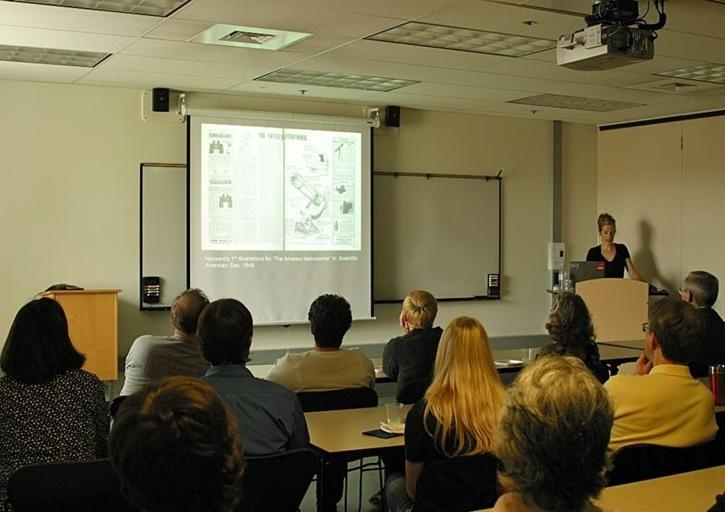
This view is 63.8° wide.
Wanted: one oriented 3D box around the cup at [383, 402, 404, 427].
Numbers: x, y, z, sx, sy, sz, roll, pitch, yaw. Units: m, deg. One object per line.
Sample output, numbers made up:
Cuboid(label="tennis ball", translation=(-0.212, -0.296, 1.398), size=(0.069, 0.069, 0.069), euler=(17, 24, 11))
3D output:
Cuboid(label="cup", translation=(0.178, 0.871, 3.196), size=(0.110, 0.086, 0.112), euler=(0, -3, 0))

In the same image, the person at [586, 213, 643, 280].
Cuboid(label="person", translation=(3.290, 0.060, 7.631), size=(0.738, 1.095, 0.566), euler=(-1, 5, 27))

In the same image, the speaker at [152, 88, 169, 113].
Cuboid(label="speaker", translation=(-2.175, -1.668, 6.280), size=(0.181, 0.260, 0.082), euler=(-2, 4, -21))

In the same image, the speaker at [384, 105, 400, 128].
Cuboid(label="speaker", translation=(0.367, -1.715, 7.212), size=(0.205, 0.265, 0.068), euler=(-2, 4, -19))

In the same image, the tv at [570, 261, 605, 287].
Cuboid(label="tv", translation=(2.608, 0.188, 6.803), size=(0.400, 0.369, 0.282), euler=(1, -1, 8))
